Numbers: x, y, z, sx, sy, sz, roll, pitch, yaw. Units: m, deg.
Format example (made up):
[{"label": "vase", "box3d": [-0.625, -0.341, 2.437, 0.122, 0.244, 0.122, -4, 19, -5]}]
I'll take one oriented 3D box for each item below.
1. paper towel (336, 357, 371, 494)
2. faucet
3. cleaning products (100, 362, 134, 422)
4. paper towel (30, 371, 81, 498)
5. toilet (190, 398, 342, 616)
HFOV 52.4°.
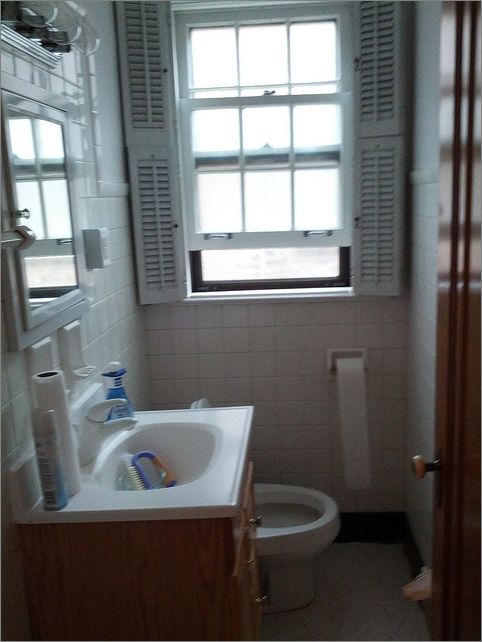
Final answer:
[{"label": "paper towel", "box3d": [0.518, 0.466, 2.240, 0.151, 0.608, 0.085, -2, 4, 5]}, {"label": "faucet", "box3d": [-0.312, 0.262, 1.182, 0.102, 0.168, 0.124, 3, 16, 5]}, {"label": "cleaning products", "box3d": [-0.359, 0.198, 1.403, 0.088, 0.204, 0.167, -2, 9, 1]}, {"label": "paper towel", "box3d": [-0.371, 0.227, 0.987, 0.050, 0.268, 0.055, 7, 17, 27]}, {"label": "toilet", "box3d": [0.086, 0.772, 2.124, 0.529, 0.880, 0.667, 1, 12, 1]}]
